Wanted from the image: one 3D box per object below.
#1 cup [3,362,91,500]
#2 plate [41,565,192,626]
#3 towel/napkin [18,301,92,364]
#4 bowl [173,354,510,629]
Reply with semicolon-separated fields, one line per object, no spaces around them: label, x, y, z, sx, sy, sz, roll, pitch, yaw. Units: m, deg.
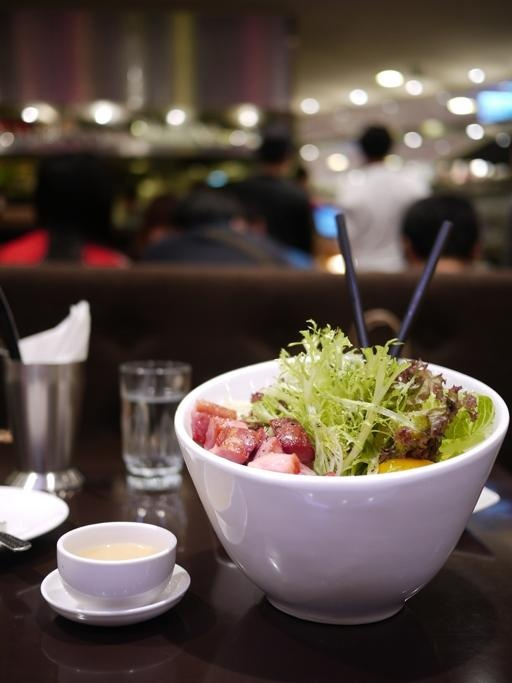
cup;-0.284;0.112;0.856;0.100;0.172;0.062;2;3;-6
plate;-0.112;0.207;0.514;0.118;0.022;0.096;1;2;-13
towel/napkin;-0.286;-0.013;0.887;0.111;0.086;0.067;-1;6;-31
bowl;0.054;0.107;0.430;0.224;0.113;0.205;-1;11;0
